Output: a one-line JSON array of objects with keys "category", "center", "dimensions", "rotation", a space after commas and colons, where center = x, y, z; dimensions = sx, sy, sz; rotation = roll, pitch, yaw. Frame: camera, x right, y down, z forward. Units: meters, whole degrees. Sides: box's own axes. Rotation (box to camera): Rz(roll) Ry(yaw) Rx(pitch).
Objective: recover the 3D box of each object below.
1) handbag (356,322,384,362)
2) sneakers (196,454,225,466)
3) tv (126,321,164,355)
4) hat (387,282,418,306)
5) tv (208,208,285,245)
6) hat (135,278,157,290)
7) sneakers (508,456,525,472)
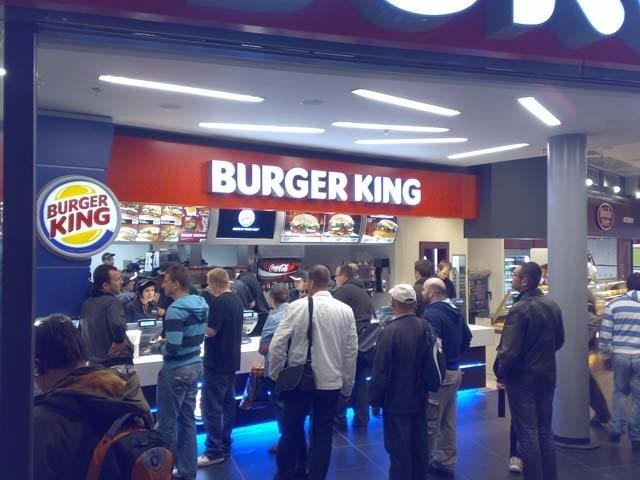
[{"category": "handbag", "center": [0.489, 0.991, 5.273], "dimensions": [0.316, 0.112, 0.258], "rotation": [-37, -5, -14]}, {"category": "sneakers", "center": [-0.962, 1.915, 4.647], "dimensions": [0.217, 0.087, 0.077], "rotation": [7, -7, -25]}, {"category": "tv", "center": [-1.555, 0.880, 4.755], "dimensions": [0.222, 0.252, 0.310], "rotation": [3, -45, -28]}, {"category": "hat", "center": [0.667, 0.422, 4.184], "dimensions": [0.180, 0.140, 0.230], "rotation": [0, -1, 16]}, {"category": "tv", "center": [-0.941, -0.165, 6.832], "dimensions": [1.077, 0.426, 0.269], "rotation": [1, -1, -34]}, {"category": "hat", "center": [-1.939, 0.496, 5.927], "dimensions": [0.143, 0.114, 0.111], "rotation": [-25, 1, -6]}, {"category": "sneakers", "center": [1.698, 1.916, 4.582], "dimensions": [0.080, 0.065, 0.161], "rotation": [-2, -5, 15]}]
